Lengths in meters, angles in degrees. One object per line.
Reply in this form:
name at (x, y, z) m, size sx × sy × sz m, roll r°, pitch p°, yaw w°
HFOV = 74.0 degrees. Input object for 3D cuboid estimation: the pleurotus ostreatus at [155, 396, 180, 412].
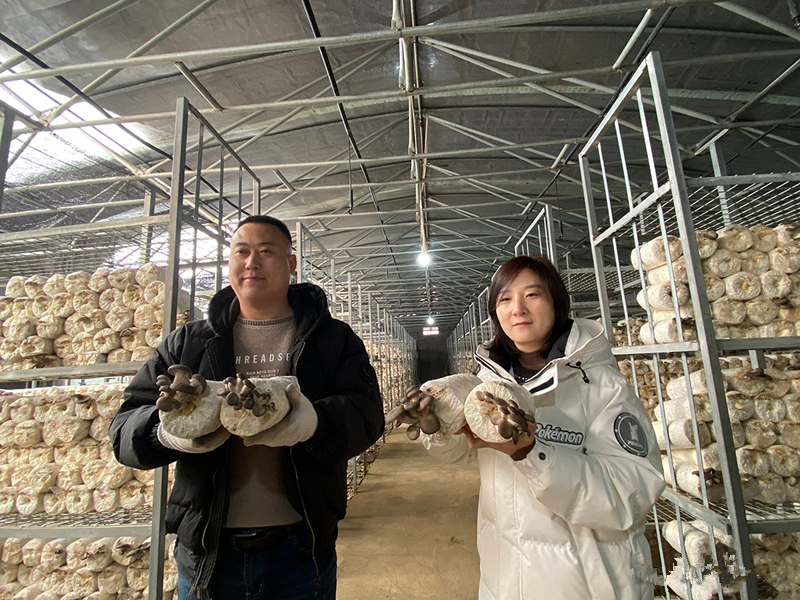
pleurotus ostreatus at (-1.284, 0.560, 2.922) m, size 0.124 × 0.078 × 0.038 m, roll 4°, pitch 7°, yaw -24°

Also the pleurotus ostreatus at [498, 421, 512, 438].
pleurotus ostreatus at (0.597, 0.706, 2.953) m, size 0.093 × 0.101 × 0.041 m, roll 7°, pitch -18°, yaw -31°

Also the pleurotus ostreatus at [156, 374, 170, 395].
pleurotus ostreatus at (-1.327, 0.463, 2.968) m, size 0.070 × 0.109 × 0.161 m, roll 4°, pitch -15°, yaw -23°

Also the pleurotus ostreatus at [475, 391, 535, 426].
pleurotus ostreatus at (0.624, 0.601, 3.016) m, size 0.352 × 0.196 × 0.163 m, roll 0°, pitch -15°, yaw -6°

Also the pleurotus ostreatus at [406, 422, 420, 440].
pleurotus ostreatus at (0.086, 0.765, 3.143) m, size 0.090 × 0.083 × 0.035 m, roll 0°, pitch -16°, yaw -5°

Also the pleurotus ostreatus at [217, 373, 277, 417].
pleurotus ostreatus at (-0.857, 0.523, 2.966) m, size 0.285 × 0.225 × 0.099 m, roll 1°, pitch -16°, yaw -12°

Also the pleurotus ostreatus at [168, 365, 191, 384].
pleurotus ostreatus at (-1.231, 0.401, 2.963) m, size 0.115 × 0.111 × 0.122 m, roll 1°, pitch -15°, yaw -13°

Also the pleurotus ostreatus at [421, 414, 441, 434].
pleurotus ostreatus at (0.186, 0.711, 3.137) m, size 0.123 × 0.111 × 0.074 m, roll -2°, pitch -15°, yaw 1°

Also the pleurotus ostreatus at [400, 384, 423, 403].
pleurotus ostreatus at (0.072, 0.542, 3.131) m, size 0.128 × 0.101 × 0.118 m, roll -1°, pitch -14°, yaw -4°
